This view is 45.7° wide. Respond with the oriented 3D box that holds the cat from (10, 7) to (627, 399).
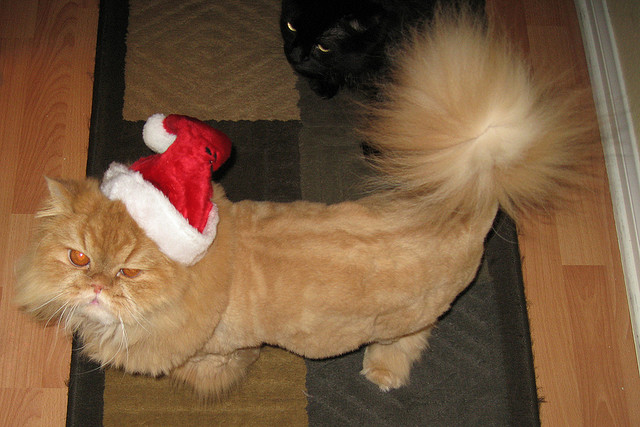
[{"bbox_3d":[-0.058,-0.074,2.769,2.195,1.096,1.179,-10,71,13],"label":"cat"}]
